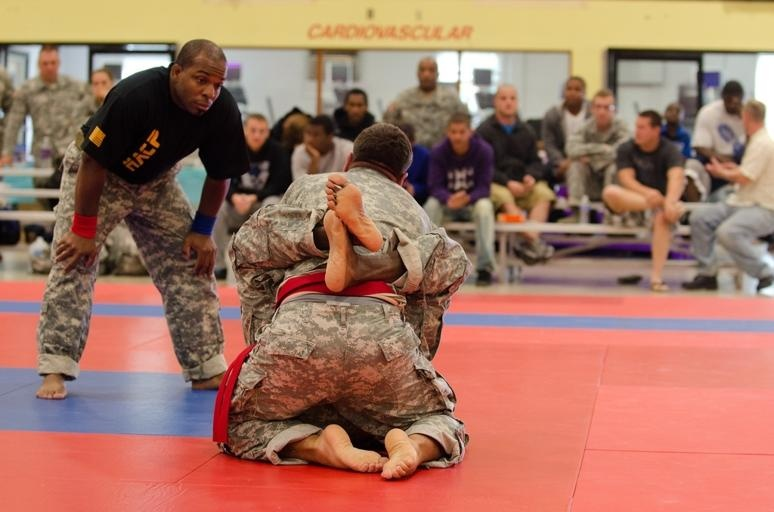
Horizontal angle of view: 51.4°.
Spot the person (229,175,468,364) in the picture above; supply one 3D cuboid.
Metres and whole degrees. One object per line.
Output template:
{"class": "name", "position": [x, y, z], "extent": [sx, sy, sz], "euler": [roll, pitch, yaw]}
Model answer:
{"class": "person", "position": [-0.242, 0.018, 4.539], "extent": [1.393, 0.980, 1.361], "euler": [7, -12, 18]}

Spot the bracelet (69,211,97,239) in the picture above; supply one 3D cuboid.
{"class": "bracelet", "position": [-1.826, -0.180, 4.752], "extent": [0.162, 0.146, 0.153], "euler": [3, 4, -4]}

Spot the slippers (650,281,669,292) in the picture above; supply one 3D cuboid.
{"class": "slippers", "position": [3.103, 0.347, 9.086], "extent": [0.204, 0.106, 0.284], "euler": [4, 11, 16]}

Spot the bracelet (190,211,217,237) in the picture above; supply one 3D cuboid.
{"class": "bracelet", "position": [-1.174, -0.197, 5.192], "extent": [0.163, 0.156, 0.158], "euler": [19, 1, 8]}

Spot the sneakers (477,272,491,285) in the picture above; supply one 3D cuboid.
{"class": "sneakers", "position": [1.145, 0.260, 9.492], "extent": [0.162, 0.175, 0.297], "euler": [3, 11, 14]}

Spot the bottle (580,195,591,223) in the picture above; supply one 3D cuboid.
{"class": "bottle", "position": [2.423, -0.577, 9.788], "extent": [0.125, 0.322, 0.325], "euler": [4, 11, 14]}

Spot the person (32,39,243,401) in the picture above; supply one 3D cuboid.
{"class": "person", "position": [-1.507, -0.208, 4.973], "extent": [1.271, 2.175, 0.472], "euler": [0, 12, -5]}

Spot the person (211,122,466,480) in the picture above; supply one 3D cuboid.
{"class": "person", "position": [-0.234, 0.207, 4.222], "extent": [1.347, 1.706, 0.836], "euler": [1, 12, 5]}

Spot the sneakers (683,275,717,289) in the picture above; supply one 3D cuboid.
{"class": "sneakers", "position": [3.619, 0.304, 9.202], "extent": [0.417, 0.164, 0.242], "euler": [1, 11, 3]}
